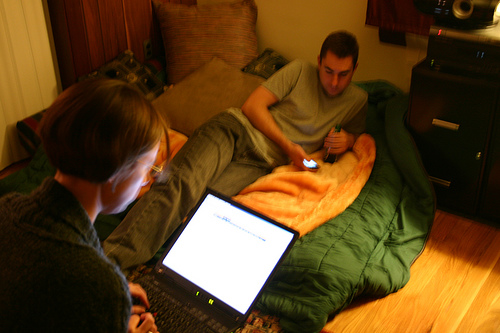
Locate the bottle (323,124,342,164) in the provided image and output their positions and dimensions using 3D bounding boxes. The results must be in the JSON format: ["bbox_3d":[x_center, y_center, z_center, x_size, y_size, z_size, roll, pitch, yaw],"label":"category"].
[{"bbox_3d":[0.511,-0.148,2.451,0.086,0.271,0.104,23,18,28],"label":"bottle"}]

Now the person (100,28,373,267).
[{"bbox_3d":[-0.049,-0.160,2.378,0.769,0.768,2.006,39,60,20],"label":"person"}]

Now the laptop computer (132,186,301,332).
[{"bbox_3d":[-0.108,0.463,1.757,0.549,0.607,0.385,30,8,18],"label":"laptop computer"}]

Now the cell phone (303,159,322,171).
[{"bbox_3d":[0.373,-0.004,2.272,0.081,0.029,0.065,27,32,-11],"label":"cell phone"}]

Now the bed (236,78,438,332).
[{"bbox_3d":[0.537,0.273,2.068,0.978,0.351,1.330,25,57,21],"label":"bed"}]
